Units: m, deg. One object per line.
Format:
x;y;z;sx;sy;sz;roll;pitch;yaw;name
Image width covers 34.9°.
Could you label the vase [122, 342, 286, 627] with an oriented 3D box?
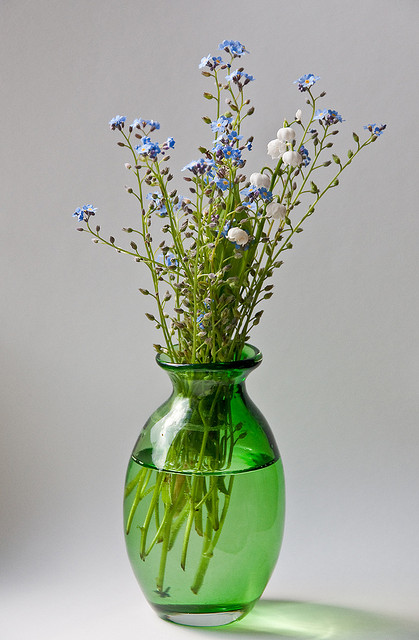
-0.009;0.196;0.815;0.200;0.294;0.314;0;-32;7;vase
